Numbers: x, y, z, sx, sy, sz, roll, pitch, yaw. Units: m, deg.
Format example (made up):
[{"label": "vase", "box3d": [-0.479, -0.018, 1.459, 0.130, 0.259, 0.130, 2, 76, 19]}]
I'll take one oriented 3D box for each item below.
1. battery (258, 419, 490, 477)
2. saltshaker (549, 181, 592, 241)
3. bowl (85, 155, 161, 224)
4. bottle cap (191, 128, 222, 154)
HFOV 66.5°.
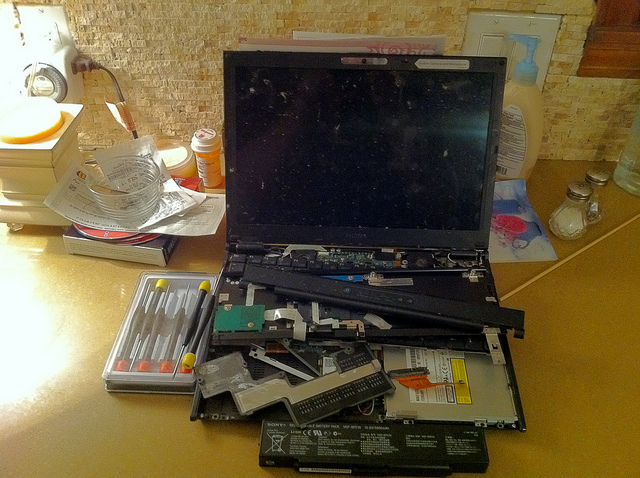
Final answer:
[{"label": "battery", "box3d": [0.094, 0.370, 0.873, 0.401, 0.047, 0.092, -1, 49, 1]}, {"label": "saltshaker", "box3d": [0.624, -0.065, 1.210, 0.088, 0.133, 0.090, 3, 40, 11]}, {"label": "bowl", "box3d": [-0.495, -0.134, 1.263, 0.173, 0.113, 0.184, 3, 49, -3]}, {"label": "bottle cap", "box3d": [-0.305, -0.267, 1.316, 0.070, 0.037, 0.084, 11, 50, 12]}]
